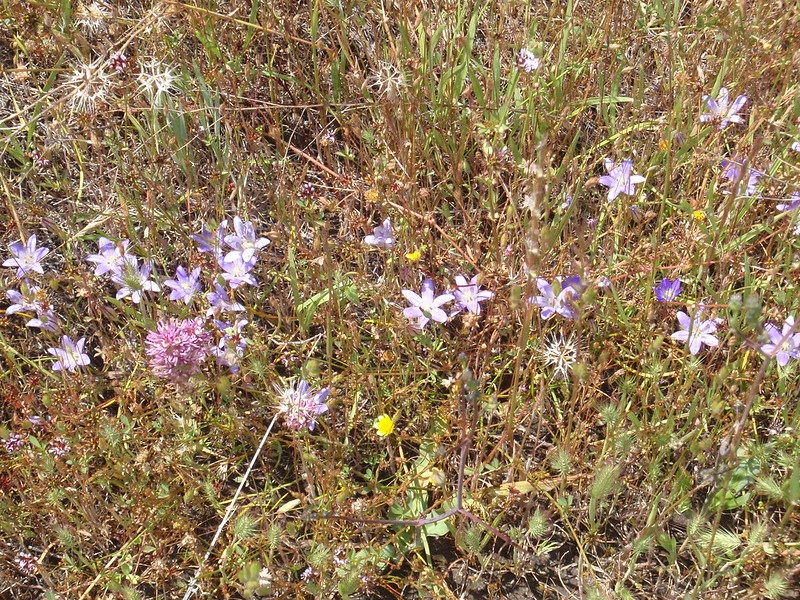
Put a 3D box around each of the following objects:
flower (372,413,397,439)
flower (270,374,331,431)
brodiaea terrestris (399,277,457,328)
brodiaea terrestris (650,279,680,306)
[{"bbox_3d":[-0.078,0.538,3.150,0.099,0.046,0.119,25,110,29],"label":"flower"},{"bbox_3d":[-0.409,0.449,2.989,0.187,0.216,0.243,16,54,2],"label":"flower"},{"bbox_3d":[0.107,0.024,3.227,0.195,0.056,0.238,24,77,19],"label":"brodiaea terrestris"},{"bbox_3d":[1.199,-0.037,3.263,0.104,0.075,0.133,20,77,22],"label":"brodiaea terrestris"}]
